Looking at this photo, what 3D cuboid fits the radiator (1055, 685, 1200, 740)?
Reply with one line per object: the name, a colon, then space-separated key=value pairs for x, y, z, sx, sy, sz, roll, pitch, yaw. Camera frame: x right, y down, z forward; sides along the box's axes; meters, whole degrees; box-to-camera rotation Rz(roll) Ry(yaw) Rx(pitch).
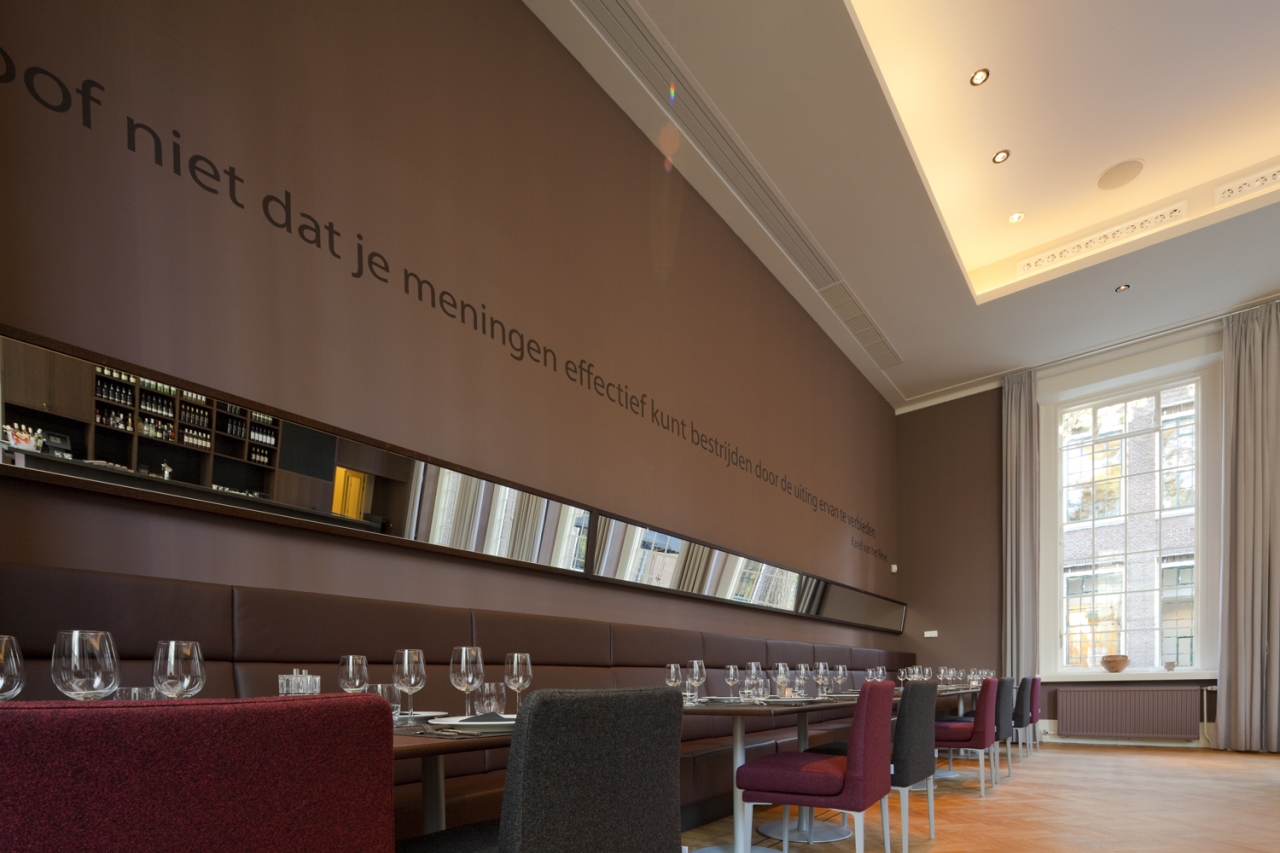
radiator: x=5.943 y=3.410 z=9.894 sx=0.395 sy=0.589 sz=1.550 roll=14 pitch=-22 yaw=-40
